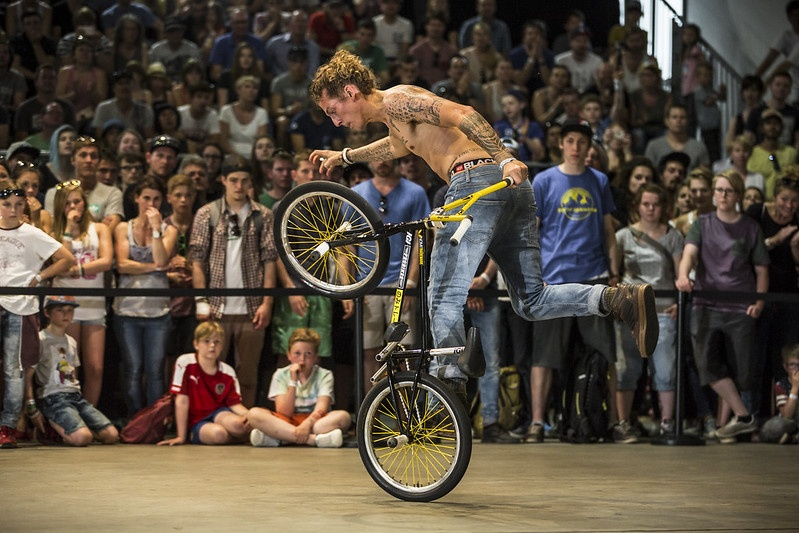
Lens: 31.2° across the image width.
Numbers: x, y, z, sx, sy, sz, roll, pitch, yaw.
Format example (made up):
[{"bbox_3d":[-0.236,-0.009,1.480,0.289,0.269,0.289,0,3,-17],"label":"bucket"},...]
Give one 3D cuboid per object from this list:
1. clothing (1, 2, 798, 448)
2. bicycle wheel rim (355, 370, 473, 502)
[{"bbox_3d":[0.813,-0.883,15.875,4.240,2.862,5.840,8,12,36],"label":"clothing"},{"bbox_3d":[0.139,1.490,13.469,1.049,1.217,1.366,1,10,2],"label":"bicycle wheel rim"}]
